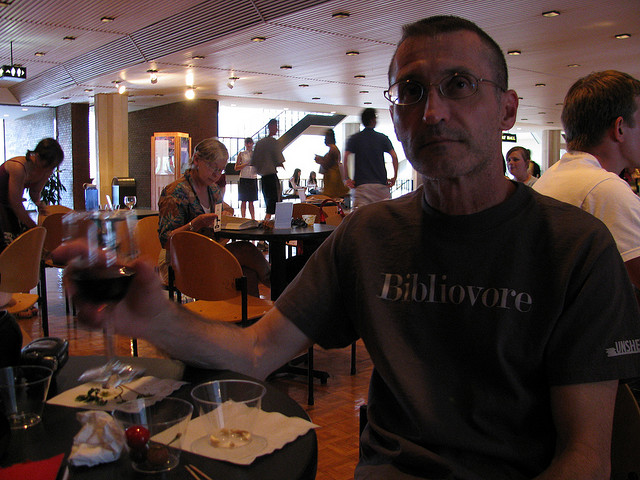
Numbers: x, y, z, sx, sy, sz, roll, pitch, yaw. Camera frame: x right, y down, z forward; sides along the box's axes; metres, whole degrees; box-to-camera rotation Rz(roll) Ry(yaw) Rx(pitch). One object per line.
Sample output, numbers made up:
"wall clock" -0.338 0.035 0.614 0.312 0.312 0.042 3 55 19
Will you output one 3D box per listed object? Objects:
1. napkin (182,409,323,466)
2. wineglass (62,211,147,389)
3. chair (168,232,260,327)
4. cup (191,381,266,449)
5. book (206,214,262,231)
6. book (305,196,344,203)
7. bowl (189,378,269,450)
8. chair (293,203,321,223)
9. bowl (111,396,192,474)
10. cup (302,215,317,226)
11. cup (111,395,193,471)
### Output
"napkin" -0.157 0.425 1.174 0.139 0.016 0.131 8 12 38
"wineglass" -0.523 0.150 1.349 0.187 0.465 0.286 0 10 -18
"chair" -0.608 0.214 3.098 0.421 0.638 0.457 7 16 23
"cup" -0.189 0.382 1.258 0.139 0.087 0.135 -2 -22 -1
"book" -0.632 -0.135 4.194 0.275 0.086 0.427 6 10 16
"book" 0.065 -0.658 8.962 0.335 0.076 0.321 0 0 -32
"bowl" -0.209 0.397 1.209 0.182 0.113 0.182 -1 6 0
"chair" -0.149 -0.314 5.841 0.217 0.231 0.289 0 4 1
"bowl" -0.333 0.392 1.124 0.138 0.114 0.127 3 10 -1
"cup" -0.085 -0.158 4.556 0.088 0.060 0.087 -1 2 0
"cup" -0.349 0.374 1.117 0.141 0.092 0.139 0 -3 0
